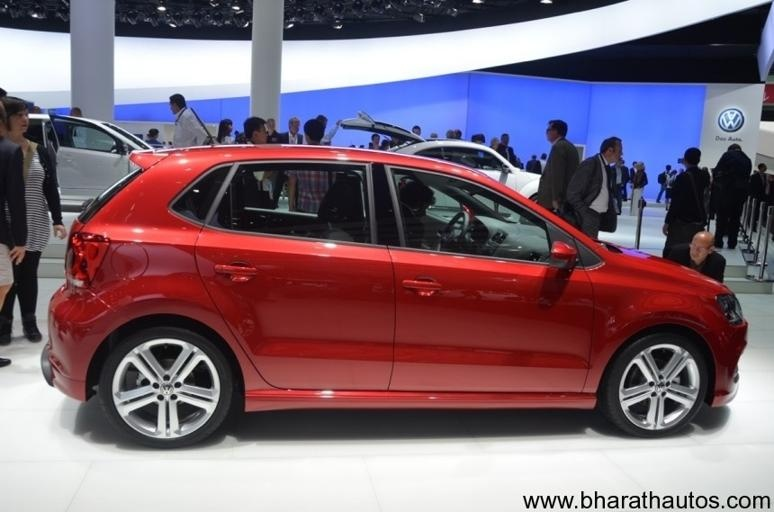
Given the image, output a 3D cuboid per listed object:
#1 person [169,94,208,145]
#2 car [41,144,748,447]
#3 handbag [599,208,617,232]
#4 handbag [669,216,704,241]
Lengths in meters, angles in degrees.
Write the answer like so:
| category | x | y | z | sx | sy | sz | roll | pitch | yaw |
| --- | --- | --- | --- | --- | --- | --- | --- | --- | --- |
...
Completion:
| category | x | y | z | sx | sy | sz | roll | pitch | yaw |
| --- | --- | --- | --- | --- | --- | --- | --- | --- | --- |
| person | -3.176 | -2.171 | 8.405 | 0.491 | 0.811 | 1.057 | -5 | 17 | -26 |
| car | 0.065 | 0.286 | 4.357 | 4.395 | 1.596 | 2.218 | -1 | 4 | -6 |
| handbag | 2.842 | -0.466 | 6.782 | 0.262 | 0.277 | 0.274 | 3 | 2 | 10 |
| handbag | 4.121 | -0.389 | 7.150 | 0.408 | 0.291 | 0.226 | 0 | 3 | 6 |
